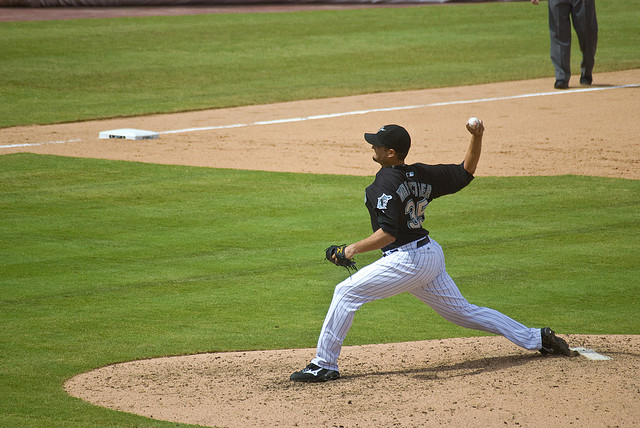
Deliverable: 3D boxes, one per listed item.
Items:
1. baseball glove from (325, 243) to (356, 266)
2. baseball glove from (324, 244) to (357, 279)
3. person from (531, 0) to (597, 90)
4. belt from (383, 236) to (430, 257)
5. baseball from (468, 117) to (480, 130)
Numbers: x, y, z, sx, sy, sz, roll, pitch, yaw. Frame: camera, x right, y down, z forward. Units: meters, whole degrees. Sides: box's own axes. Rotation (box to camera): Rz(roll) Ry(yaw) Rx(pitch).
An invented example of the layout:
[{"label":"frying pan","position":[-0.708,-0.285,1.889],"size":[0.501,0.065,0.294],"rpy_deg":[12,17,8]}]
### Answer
[{"label":"baseball glove","position":[0.216,0.530,17.388],"size":[0.410,0.162,0.223],"rpy_deg":[10,8,8]},{"label":"baseball glove","position":[0.260,0.562,17.373],"size":[0.385,0.150,0.238],"rpy_deg":[28,10,17]},{"label":"person","position":[5.040,-3.355,26.880],"size":[0.902,1.776,0.745],"rpy_deg":[-4,17,8]},{"label":"belt","position":[1.118,0.419,17.336],"size":[0.584,0.184,0.107],"rpy_deg":[-5,17,-3]},{"label":"baseball","position":[2.005,-1.165,17.567],"size":[0.188,0.148,0.093],"rpy_deg":[5,-4,2]}]
